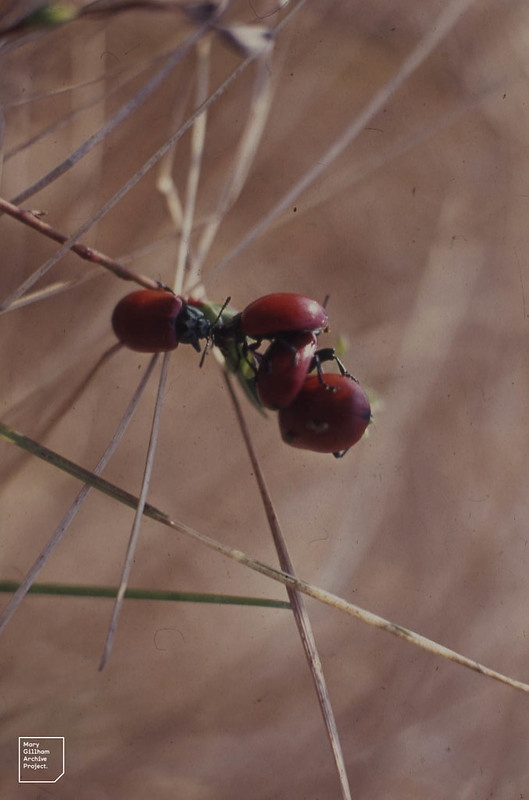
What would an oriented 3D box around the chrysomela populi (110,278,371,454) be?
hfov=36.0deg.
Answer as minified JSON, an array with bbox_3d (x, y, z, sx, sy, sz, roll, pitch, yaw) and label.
[{"bbox_3d":[-0.012,-0.030,0.371,0.101,0.070,0.031,33,51,19],"label":"chrysomela populi"}]
